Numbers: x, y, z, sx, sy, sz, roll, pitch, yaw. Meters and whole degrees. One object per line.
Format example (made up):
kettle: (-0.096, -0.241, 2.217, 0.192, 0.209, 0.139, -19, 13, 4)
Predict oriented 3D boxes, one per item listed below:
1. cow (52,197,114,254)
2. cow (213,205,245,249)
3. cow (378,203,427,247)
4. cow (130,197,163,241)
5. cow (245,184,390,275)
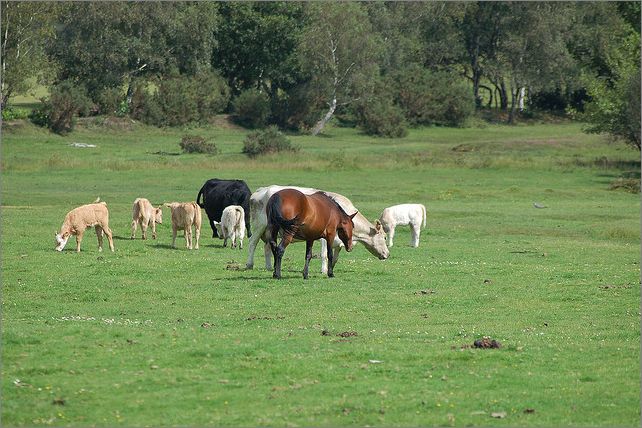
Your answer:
cow: (-20.904, 0.911, 102.180, 4.840, 4.709, 1.896, 0, 3, -11)
cow: (-8.265, 1.338, 107.207, 2.444, 3.492, 7.010, 1, -4, -16)
cow: (7.197, 1.143, 107.081, 4.839, 3.550, 1.495, -3, 2, -8)
cow: (-16.098, 0.184, 107.286, 1.587, 3.437, 5.420, 2, 1, 6)
cow: (-0.401, 1.852, 100.377, 13.156, 7.359, 3.663, 6, -13, -11)
